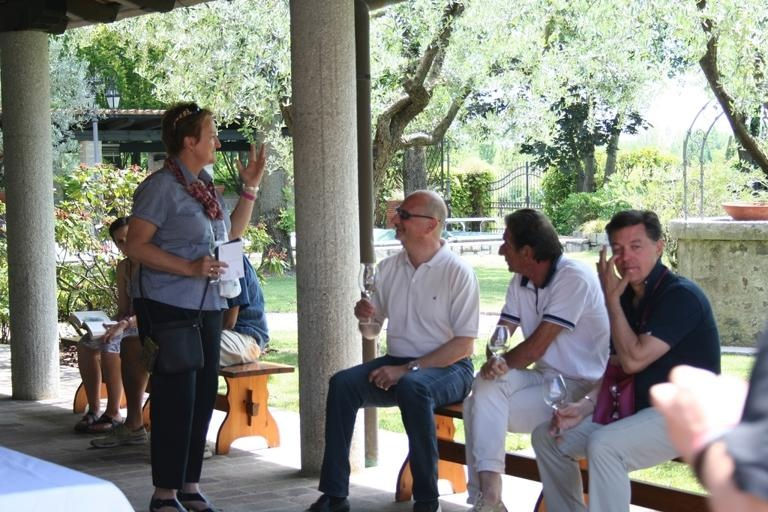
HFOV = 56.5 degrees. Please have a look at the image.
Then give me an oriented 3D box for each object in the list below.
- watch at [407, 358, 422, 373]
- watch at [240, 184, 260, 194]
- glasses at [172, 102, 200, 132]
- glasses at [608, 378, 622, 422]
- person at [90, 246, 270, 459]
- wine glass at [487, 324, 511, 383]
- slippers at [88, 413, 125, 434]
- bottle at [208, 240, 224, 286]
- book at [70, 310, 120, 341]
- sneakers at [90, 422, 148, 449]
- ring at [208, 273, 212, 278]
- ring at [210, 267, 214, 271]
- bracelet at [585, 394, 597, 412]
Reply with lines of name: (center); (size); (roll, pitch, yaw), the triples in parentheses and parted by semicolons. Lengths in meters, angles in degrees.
watch: (0.180, 0.649, 4.245); (0.050, 0.065, 0.067); (1, 3, -5)
watch: (-0.885, -0.459, 4.808); (0.093, 0.028, 0.100); (7, -5, 19)
glasses: (-1.183, -0.837, 4.261); (0.163, 0.061, 0.127); (-42, 26, -5)
glasses: (1.213, 0.768, 3.761); (0.048, 0.146, 0.081); (0, -4, -14)
person: (-1.404, 0.715, 4.907); (0.521, 1.006, 1.474); (2, -5, -30)
wine glass: (0.643, 0.531, 4.066); (0.134, 0.293, 0.243); (1, 0, 11)
slippers: (-2.300, 1.372, 5.962); (0.166, 0.122, 0.329); (0, -4, 30)
bottle: (-0.992, 0.038, 4.199); (0.067, 0.278, 0.250); (0, 0, -15)
book: (-2.418, 0.550, 5.877); (0.224, 0.088, 0.400); (0, 20, -31)
sneakers: (-2.079, 1.383, 5.606); (0.420, 0.180, 0.172); (2, -3, -19)
ring: (-1.011, 0.108, 4.109); (0.031, 0.025, 0.010); (2, 2, 4)
ring: (-0.987, 0.068, 4.074); (0.021, 0.022, 0.005); (-1, -3, -9)
bracelet: (1.139, 0.792, 3.921); (0.043, 0.111, 0.036); (-5, -2, 5)
